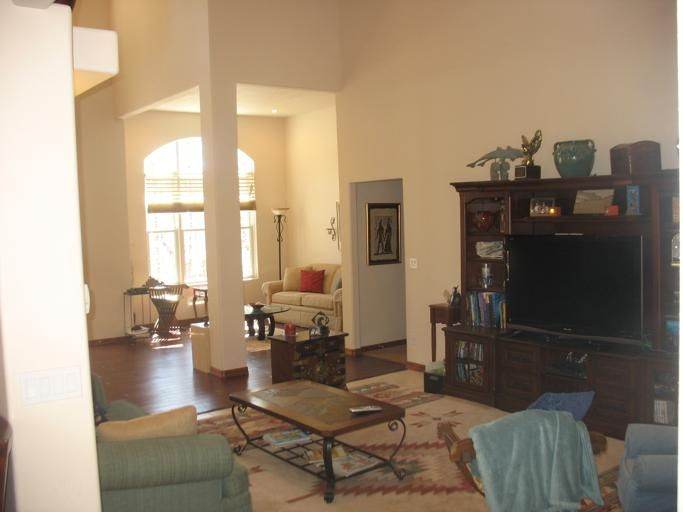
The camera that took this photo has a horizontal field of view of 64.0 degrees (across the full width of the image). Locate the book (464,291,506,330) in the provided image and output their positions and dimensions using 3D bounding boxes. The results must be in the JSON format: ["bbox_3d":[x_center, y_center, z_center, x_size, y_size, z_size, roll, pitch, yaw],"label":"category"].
[{"bbox_3d":[1.637,0.592,6.184,0.331,0.599,0.606,1,1,24],"label":"book"}]

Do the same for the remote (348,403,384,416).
[{"bbox_3d":[0.207,1.253,4.542,0.277,0.051,0.239,-2,6,-7],"label":"remote"}]

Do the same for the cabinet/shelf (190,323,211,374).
[{"bbox_3d":[-1.940,1.271,7.615,0.195,0.632,0.480,-4,6,-24],"label":"cabinet/shelf"}]

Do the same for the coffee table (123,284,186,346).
[{"bbox_3d":[-3.407,1.060,9.865,0.946,0.908,0.364,-2,4,-34],"label":"coffee table"}]

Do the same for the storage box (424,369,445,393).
[{"bbox_3d":[1.092,1.487,6.473,0.287,0.288,0.200,0,-1,45],"label":"storage box"}]

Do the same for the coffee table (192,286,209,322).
[{"bbox_3d":[-2.717,0.887,10.609,0.345,0.463,0.325,2,-2,-16],"label":"coffee table"}]

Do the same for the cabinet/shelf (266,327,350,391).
[{"bbox_3d":[-0.181,1.313,6.487,0.605,0.596,0.456,-7,-14,10],"label":"cabinet/shelf"}]

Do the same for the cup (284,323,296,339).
[{"bbox_3d":[-0.574,0.872,6.440,0.134,0.188,0.132,0,-2,0],"label":"cup"}]

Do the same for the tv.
[{"bbox_3d":[2.355,0.327,5.453,0.089,0.864,1.152,0,2,-44],"label":"tv"}]

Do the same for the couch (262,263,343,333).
[{"bbox_3d":[-0.474,0.764,10.486,2.011,1.211,0.985,3,3,35],"label":"couch"}]

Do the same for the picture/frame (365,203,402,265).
[{"bbox_3d":[0.642,-0.360,8.579,0.913,1.287,0.126,-2,3,-39],"label":"picture/frame"}]
